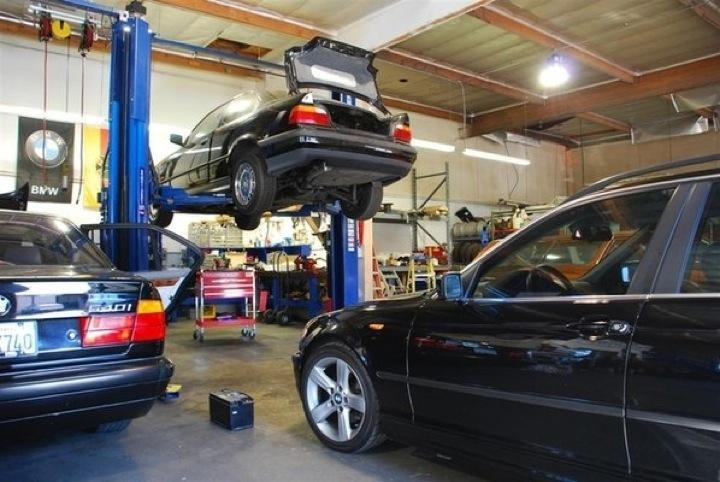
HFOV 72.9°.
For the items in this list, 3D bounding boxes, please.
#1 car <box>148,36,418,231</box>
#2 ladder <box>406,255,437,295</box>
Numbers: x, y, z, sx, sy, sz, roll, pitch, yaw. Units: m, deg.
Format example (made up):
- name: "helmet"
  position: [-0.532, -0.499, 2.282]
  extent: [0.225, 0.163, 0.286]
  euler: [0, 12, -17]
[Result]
- name: "car"
  position: [-1.564, -1.220, 7.538]
  extent: [2.208, 1.719, 4.798]
  euler: [5, -5, -36]
- name: "ladder"
  position: [1.590, 0.946, 12.831]
  extent: [0.809, 0.908, 0.644]
  euler: [-5, 5, -19]
